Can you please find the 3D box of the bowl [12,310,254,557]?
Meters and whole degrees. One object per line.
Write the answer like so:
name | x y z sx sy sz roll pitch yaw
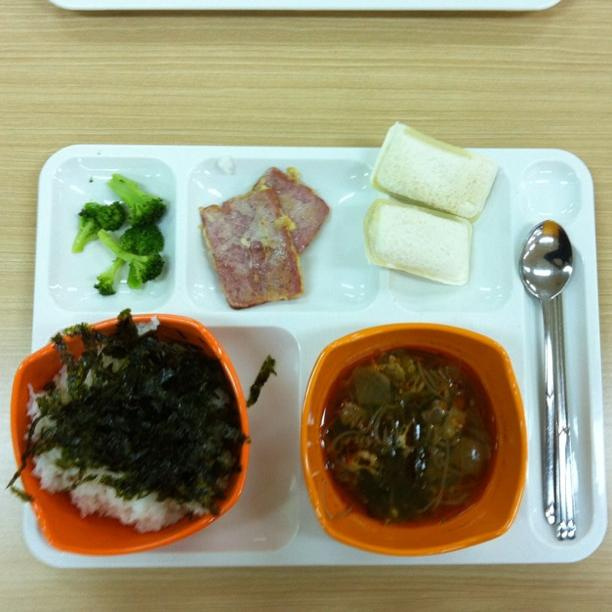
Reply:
bowl | -0.424 0.300 1.743 0.563 0.163 0.569 0 81 0

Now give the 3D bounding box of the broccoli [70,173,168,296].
broccoli | -0.501 -0.187 2.134 0.278 0.121 0.340 40 92 8

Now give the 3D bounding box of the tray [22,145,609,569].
tray | 0.034 0.109 1.916 1.584 0.308 1.155 0 81 0

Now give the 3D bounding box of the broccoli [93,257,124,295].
broccoli | -0.556 -0.076 2.010 0.064 0.065 0.115 21 65 -4

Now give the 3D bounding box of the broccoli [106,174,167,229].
broccoli | -0.472 -0.292 2.035 0.124 0.089 0.178 -35 76 -13

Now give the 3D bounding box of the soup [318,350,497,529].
soup | 0.250 0.358 1.814 0.340 0.205 0.383 7 54 10

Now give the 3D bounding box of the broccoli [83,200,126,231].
broccoli | -0.566 -0.256 2.006 0.092 0.050 0.077 37 37 5

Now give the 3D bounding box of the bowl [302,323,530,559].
bowl | 0.302 0.362 1.862 0.618 0.275 0.605 0 81 0
